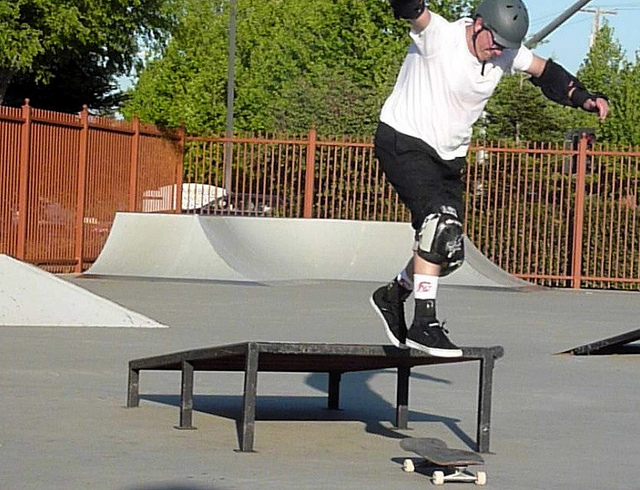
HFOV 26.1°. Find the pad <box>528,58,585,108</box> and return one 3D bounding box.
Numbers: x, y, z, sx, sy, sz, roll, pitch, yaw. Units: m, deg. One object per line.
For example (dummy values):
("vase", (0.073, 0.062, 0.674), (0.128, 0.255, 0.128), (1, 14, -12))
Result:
("pad", (2.591, -1.791, 15.124), (0.589, 0.530, 0.282), (4, 13, 9))

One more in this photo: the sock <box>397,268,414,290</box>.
("sock", (0.908, 0.392, 14.915), (0.171, 0.156, 0.207), (15, -17, 6))

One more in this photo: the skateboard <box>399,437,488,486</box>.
("skateboard", (1.246, 2.187, 14.135), (0.430, 0.218, 0.789), (0, 6, -22))

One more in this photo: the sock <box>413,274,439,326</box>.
("sock", (1.101, 0.587, 14.622), (0.243, 0.517, 0.283), (2, 13, 3))

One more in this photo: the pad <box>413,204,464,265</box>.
("pad", (1.206, -0.064, 14.825), (0.485, 0.608, 0.666), (17, -37, -15))
